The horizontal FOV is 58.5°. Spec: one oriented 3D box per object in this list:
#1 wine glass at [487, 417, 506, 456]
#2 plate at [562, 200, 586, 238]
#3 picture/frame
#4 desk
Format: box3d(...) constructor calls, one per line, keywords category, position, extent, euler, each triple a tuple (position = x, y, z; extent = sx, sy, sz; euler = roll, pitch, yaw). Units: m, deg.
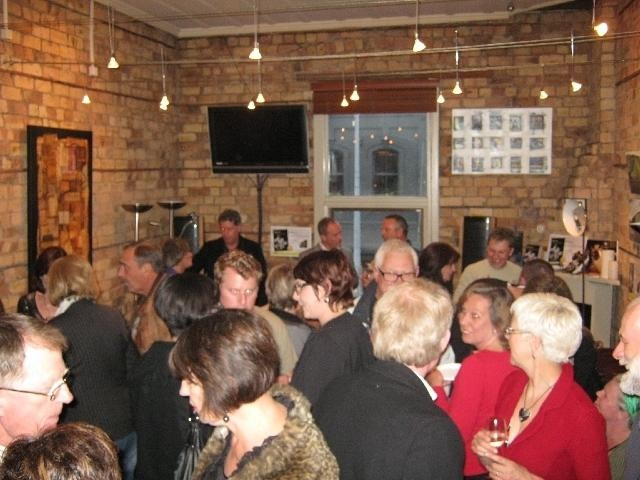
box3d(category="wine glass", position=(0.868, 0.946, 2.795), extent=(0.087, 0.141, 0.086), euler=(5, 6, 19))
box3d(category="plate", position=(2.701, -0.251, 6.092), extent=(0.162, 0.421, 0.325), euler=(3, -7, 7))
box3d(category="picture/frame", position=(-2.575, -0.367, 5.692), extent=(1.082, 1.504, 0.043), euler=(2, 3, 33))
box3d(category="desk", position=(3.222, 0.956, 7.097), extent=(0.810, 0.789, 0.450), euler=(-9, -5, 33))
